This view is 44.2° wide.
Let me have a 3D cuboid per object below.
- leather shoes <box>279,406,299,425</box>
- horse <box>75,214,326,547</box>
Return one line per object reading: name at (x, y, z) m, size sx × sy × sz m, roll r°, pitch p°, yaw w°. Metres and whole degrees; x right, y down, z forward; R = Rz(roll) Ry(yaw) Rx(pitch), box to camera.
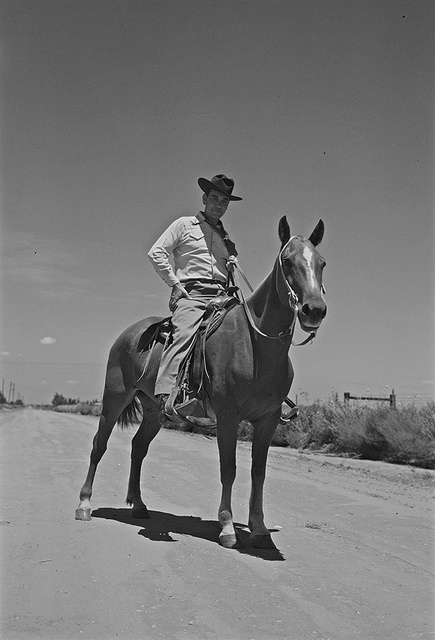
leather shoes at (0.807, 1.063, 5.873) m, size 0.247 × 0.094 × 0.177 m, roll -22°, pitch 1°, yaw -33°
horse at (-0.162, 0.777, 5.549) m, size 0.978 × 2.932 × 3.475 m, roll 8°, pitch -14°, yaw -42°
